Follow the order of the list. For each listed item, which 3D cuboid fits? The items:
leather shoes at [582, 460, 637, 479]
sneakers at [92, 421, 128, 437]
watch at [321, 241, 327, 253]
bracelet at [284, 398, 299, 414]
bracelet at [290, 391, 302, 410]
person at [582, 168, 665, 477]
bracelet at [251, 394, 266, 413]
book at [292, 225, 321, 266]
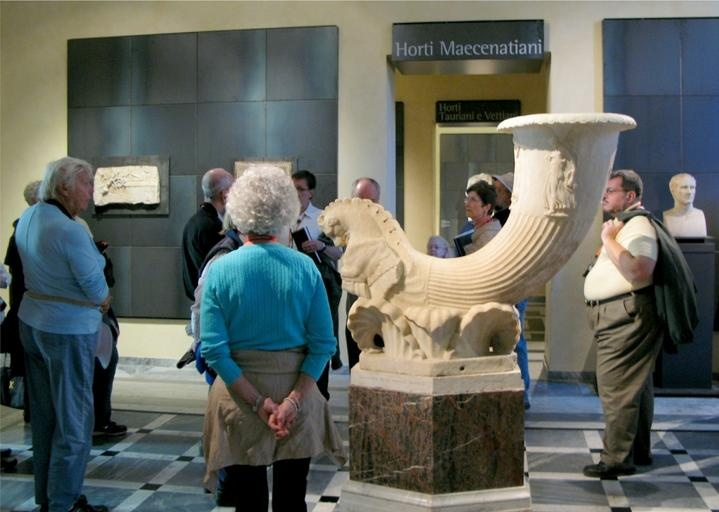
[{"bbox_3d":[2.049,1.725,7.592,0.381,0.178,0.173,2,-2,5],"label":"leather shoes"},{"bbox_3d":[-2.258,1.561,8.424,0.338,0.156,0.118,1,-2,-7],"label":"sneakers"},{"bbox_3d":[-0.314,-0.078,8.044,0.053,0.077,0.083,2,43,-4],"label":"watch"},{"bbox_3d":[-0.461,0.995,6.163,0.085,0.092,0.088,10,-32,-16],"label":"bracelet"},{"bbox_3d":[-0.432,0.957,6.159,0.077,0.103,0.093,-10,37,20],"label":"bracelet"},{"bbox_3d":[2.161,0.555,7.627,0.629,2.483,0.483,0,5,15],"label":"person"},{"bbox_3d":[-0.668,0.969,6.121,0.074,0.108,0.038,17,0,-14],"label":"bracelet"},{"bbox_3d":[-0.473,-0.082,8.039,0.065,0.284,0.266,-24,29,-33],"label":"book"}]
